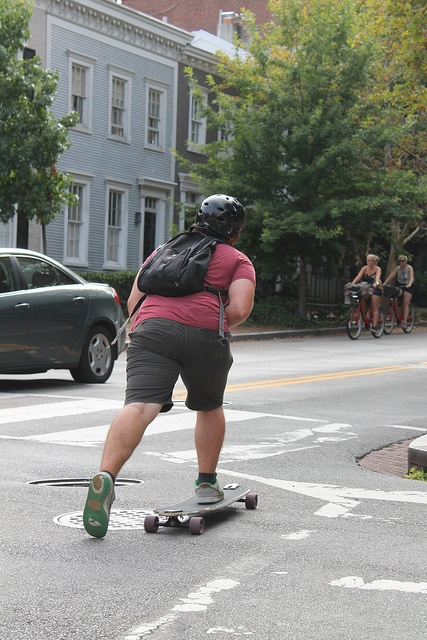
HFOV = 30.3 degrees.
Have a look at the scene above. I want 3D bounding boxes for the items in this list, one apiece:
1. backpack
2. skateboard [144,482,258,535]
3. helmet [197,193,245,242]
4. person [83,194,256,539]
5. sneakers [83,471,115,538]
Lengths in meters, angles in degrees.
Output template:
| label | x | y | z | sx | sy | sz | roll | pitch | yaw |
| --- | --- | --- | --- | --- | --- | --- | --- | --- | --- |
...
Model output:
| label | x | y | z | sx | sy | sz | roll | pitch | yaw |
| --- | --- | --- | --- | --- | --- | --- | --- | --- | --- |
| backpack | -0.152 | -0.141 | 3.994 | 0.466 | 0.611 | 0.549 | 26 | -18 | -34 |
| skateboard | -0.053 | 0.967 | 4.073 | 0.213 | 0.083 | 0.542 | 1 | 5 | 27 |
| helmet | 0.037 | -0.510 | 4.096 | 0.232 | 0.253 | 0.281 | 20 | 9 | 14 |
| person | -0.209 | 0.142 | 3.868 | 0.903 | 1.311 | 0.462 | 2 | 1 | -38 |
| sneakers | -0.491 | 0.793 | 3.453 | 0.127 | 0.311 | 0.137 | 8 | 29 | 17 |
